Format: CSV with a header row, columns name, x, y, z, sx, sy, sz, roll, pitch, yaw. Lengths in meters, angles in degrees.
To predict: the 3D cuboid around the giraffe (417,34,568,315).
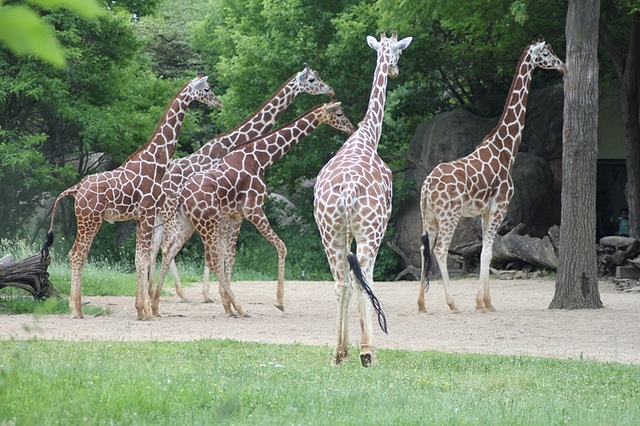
name,x,y,z,sx,sy,sz,roll,pitch,yaw
giraffe,3.860,-0.887,25.164,4.051,6.343,1.742,-10,16,-36
